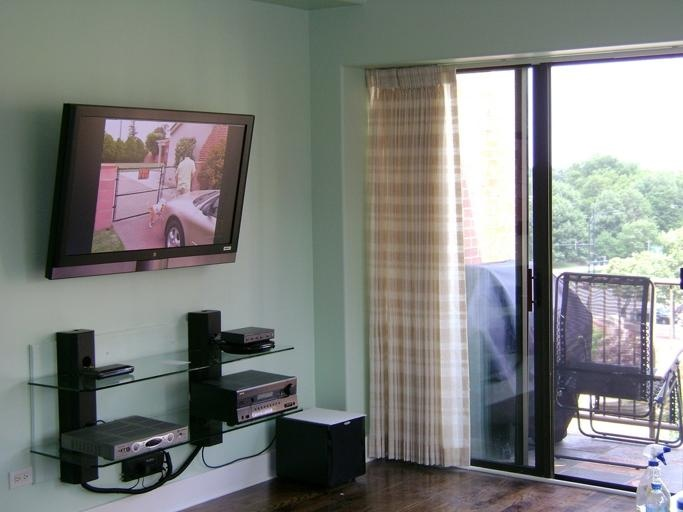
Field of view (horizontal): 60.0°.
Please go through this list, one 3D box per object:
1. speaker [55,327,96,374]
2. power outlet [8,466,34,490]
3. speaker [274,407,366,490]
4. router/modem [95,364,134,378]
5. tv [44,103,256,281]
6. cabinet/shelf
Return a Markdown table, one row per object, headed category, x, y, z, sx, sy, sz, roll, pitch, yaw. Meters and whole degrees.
| category | x | y | z | sx | sy | sz | roll | pitch | yaw |
| --- | --- | --- | --- | --- | --- | --- | --- | --- | --- |
| speaker | -1.465 | 0.528 | 3.255 | 0.194 | 0.225 | 0.102 | -4 | 4 | -22 |
| power outlet | -1.713 | 1.173 | 3.152 | 0.018 | 0.103 | 0.144 | -4 | -2 | 42 |
| speaker | -0.181 | 1.283 | 4.150 | 0.518 | 0.489 | 0.518 | -5 | -6 | 37 |
| router/modem | -1.247 | 0.628 | 3.268 | 0.203 | 0.046 | 0.167 | -4 | 5 | -22 |
| tv | -1.132 | -0.377 | 3.385 | 1.123 | 0.810 | 0.116 | -3 | 12 | -44 |
| cabinet/shelf | -1.003 | 0.879 | 3.623 | 0.607 | 1.011 | 1.620 | -3 | -1 | 35 |
